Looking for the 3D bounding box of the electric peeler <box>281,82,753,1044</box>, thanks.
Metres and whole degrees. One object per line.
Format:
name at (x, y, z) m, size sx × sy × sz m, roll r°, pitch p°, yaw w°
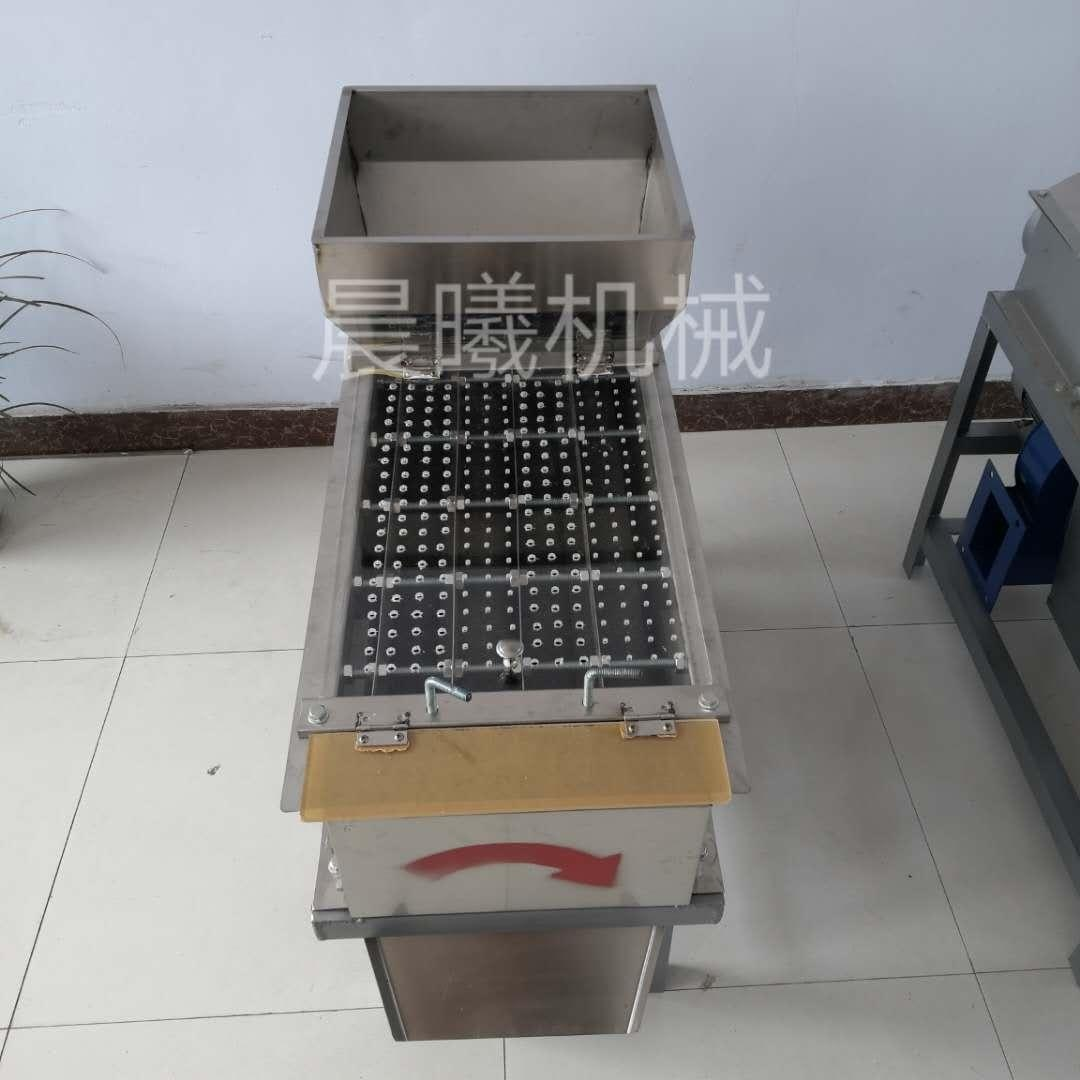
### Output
electric peeler at (-0.067, 0.111, 2.182) m, size 0.762 × 1.657 × 1.554 m, roll -1°, pitch 41°, yaw -2°
